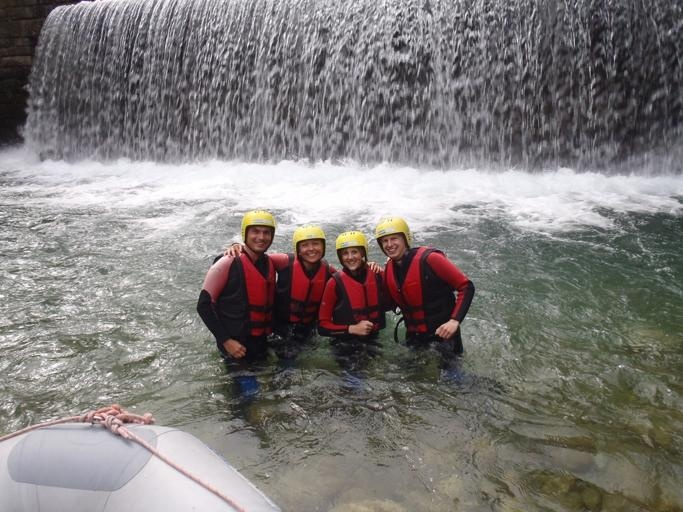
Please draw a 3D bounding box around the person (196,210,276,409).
[{"bbox_3d":[-1.144,0.389,5.956,0.587,1.599,0.955,7,22,22],"label":"person"}]

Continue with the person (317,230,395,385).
[{"bbox_3d":[0.095,0.467,5.999,0.664,1.335,1.004,9,23,28],"label":"person"}]

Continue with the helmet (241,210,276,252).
[{"bbox_3d":[-0.932,-0.271,6.099,0.341,0.447,0.452,8,-15,-14],"label":"helmet"}]

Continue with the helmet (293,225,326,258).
[{"bbox_3d":[-0.392,-0.167,6.232,0.270,0.328,0.345,-5,-14,-8],"label":"helmet"}]

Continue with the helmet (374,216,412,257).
[{"bbox_3d":[0.586,-0.273,6.244,0.350,0.399,0.445,-14,-28,21],"label":"helmet"}]

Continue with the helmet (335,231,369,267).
[{"bbox_3d":[0.109,-0.122,6.171,0.309,0.338,0.371,-9,-21,5],"label":"helmet"}]
